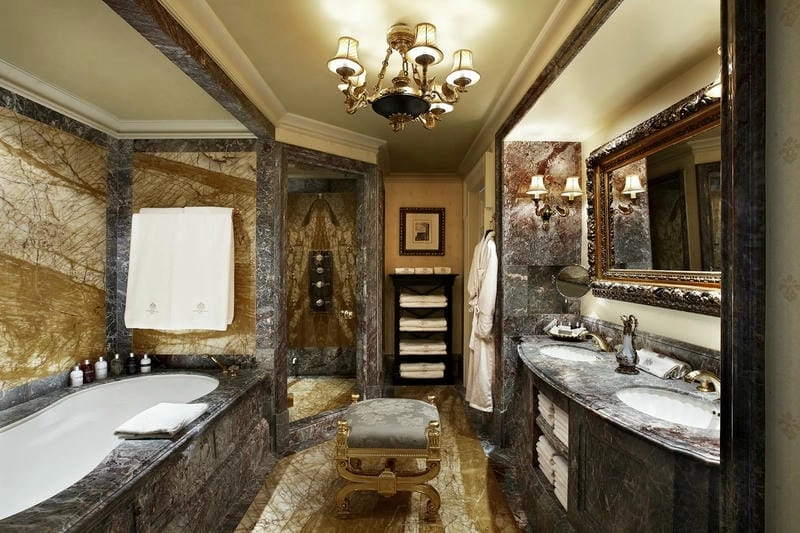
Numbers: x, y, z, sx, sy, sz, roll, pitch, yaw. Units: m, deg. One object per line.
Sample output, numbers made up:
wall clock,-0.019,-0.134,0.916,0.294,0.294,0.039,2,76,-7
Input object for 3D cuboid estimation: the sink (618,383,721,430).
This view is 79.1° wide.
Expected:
sink,1.664,0.777,2.891,0.290,0.126,0.333,4,2,-21

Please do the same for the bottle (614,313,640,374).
bottle,1.543,0.515,3.267,0.142,0.344,0.258,7,15,24

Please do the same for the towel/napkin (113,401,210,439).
towel/napkin,-1.619,1.053,3.397,0.381,0.086,0.517,4,14,16

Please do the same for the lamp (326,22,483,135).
lamp,-0.006,-1.322,3.427,0.947,0.695,0.834,-2,14,-8

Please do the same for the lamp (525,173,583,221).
lamp,1.310,-0.571,4.180,0.474,0.379,0.238,4,-3,0

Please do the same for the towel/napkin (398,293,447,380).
towel/napkin,0.284,0.862,6.063,0.631,1.027,0.605,0,14,0

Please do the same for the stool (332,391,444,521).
stool,-0.070,1.526,3.939,0.855,0.694,1.008,1,-6,-3

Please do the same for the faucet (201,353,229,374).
faucet,-1.655,0.859,4.356,0.279,0.164,0.115,-11,1,-30

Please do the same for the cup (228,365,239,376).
cup,-1.452,0.909,4.259,0.088,0.073,0.223,-4,15,-17
